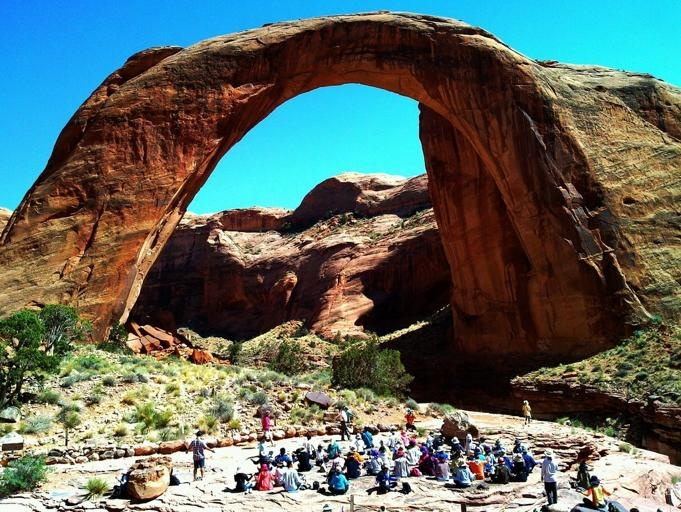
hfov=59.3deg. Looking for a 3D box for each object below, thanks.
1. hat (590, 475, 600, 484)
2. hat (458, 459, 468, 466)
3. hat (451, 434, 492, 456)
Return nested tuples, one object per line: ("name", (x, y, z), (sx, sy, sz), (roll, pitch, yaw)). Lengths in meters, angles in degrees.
("hat", (5.749, 4.988, 13.599), (0.218, 0.192, 0.253), (5, -12, 22))
("hat", (3.079, 5.165, 15.277), (0.232, 0.208, 0.529), (-3, -22, 9))
("hat", (3.689, 5.298, 17.149), (0.853, 0.453, 1.088), (37, 7, 14))
